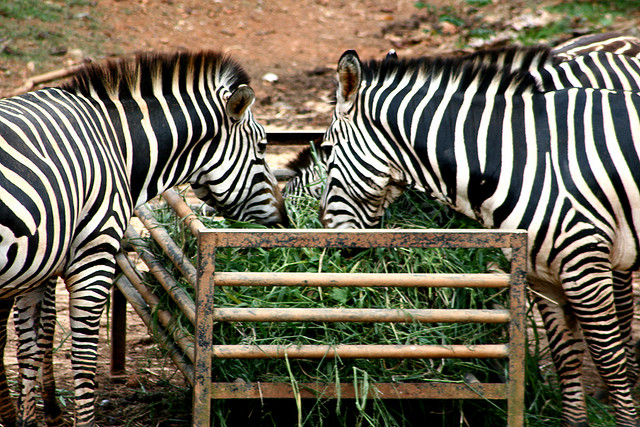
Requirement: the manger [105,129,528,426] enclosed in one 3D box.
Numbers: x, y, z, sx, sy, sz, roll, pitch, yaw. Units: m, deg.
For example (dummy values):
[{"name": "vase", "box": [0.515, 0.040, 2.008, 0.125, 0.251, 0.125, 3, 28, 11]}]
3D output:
[{"name": "manger", "box": [-0.105, 0.736, 7.566, 2.855, 1.603, 1.628, 11, 45, 19]}]
